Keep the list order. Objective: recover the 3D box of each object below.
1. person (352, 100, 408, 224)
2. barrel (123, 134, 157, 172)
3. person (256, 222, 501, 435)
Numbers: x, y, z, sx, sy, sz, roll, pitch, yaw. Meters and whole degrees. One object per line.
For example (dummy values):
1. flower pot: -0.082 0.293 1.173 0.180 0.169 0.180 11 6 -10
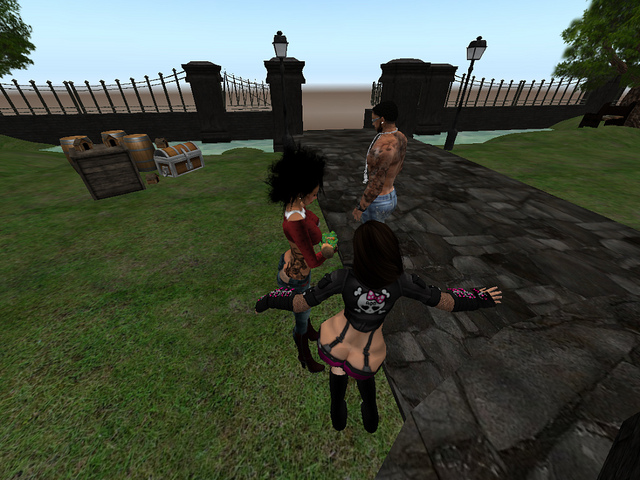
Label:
1. person: 0.739 -0.903 3.407 0.521 1.569 0.723 7 37 16
2. barrel: -5.311 -2.434 7.594 0.987 0.878 0.680 -2 32 -6
3. person: 0.385 0.677 2.264 1.478 1.815 0.734 -17 38 -20
